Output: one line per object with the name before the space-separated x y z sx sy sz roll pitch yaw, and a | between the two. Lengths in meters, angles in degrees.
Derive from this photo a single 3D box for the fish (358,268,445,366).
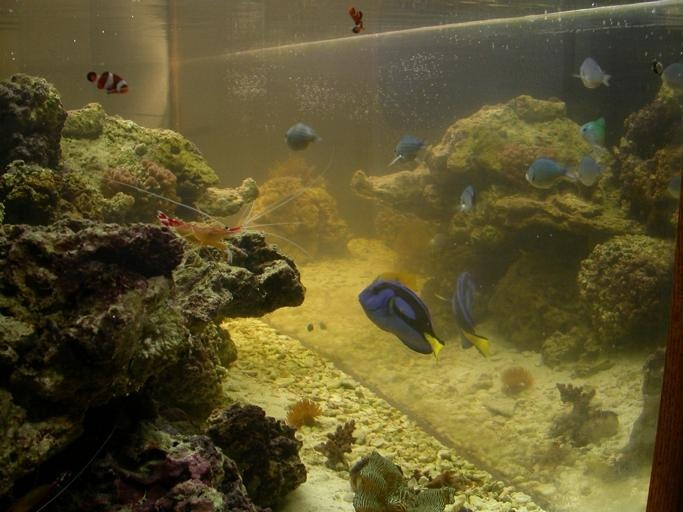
fish | 0.390 0.374 4.564 0.545 0.547 0.235 -3 10 4

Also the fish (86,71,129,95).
fish | -2.009 -1.492 5.849 0.290 0.195 0.492 -7 11 -15

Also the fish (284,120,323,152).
fish | -0.307 -1.168 6.497 0.486 0.171 0.298 0 -29 -27

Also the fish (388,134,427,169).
fish | 0.638 -0.989 6.250 0.273 0.234 0.110 -1 10 13

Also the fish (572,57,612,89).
fish | 1.978 -1.417 5.290 0.218 0.227 0.072 5 13 40

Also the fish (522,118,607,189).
fish | 1.767 -0.792 5.356 0.573 0.540 0.237 1 11 23

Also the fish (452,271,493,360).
fish | 0.960 0.425 5.235 0.288 0.703 0.323 5 14 5

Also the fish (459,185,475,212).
fish | 1.103 -0.495 5.949 0.072 0.254 0.027 19 12 33
